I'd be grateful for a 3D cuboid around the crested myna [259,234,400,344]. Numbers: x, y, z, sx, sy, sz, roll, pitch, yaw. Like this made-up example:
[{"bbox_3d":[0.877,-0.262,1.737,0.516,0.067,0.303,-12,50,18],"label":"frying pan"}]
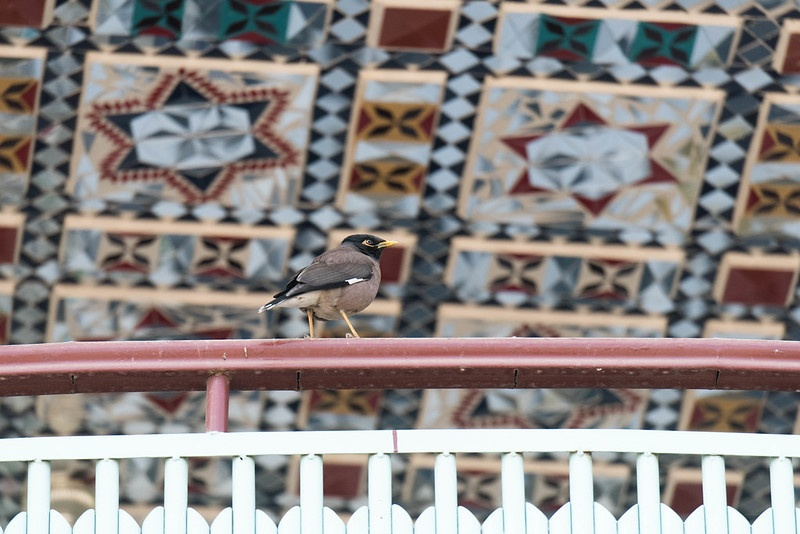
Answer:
[{"bbox_3d":[-0.431,0.082,12.894,0.911,0.454,0.434,-3,-4,-42],"label":"crested myna"}]
